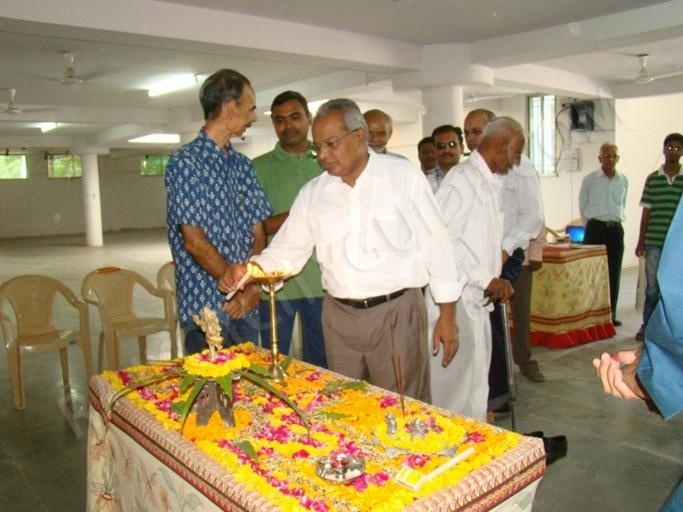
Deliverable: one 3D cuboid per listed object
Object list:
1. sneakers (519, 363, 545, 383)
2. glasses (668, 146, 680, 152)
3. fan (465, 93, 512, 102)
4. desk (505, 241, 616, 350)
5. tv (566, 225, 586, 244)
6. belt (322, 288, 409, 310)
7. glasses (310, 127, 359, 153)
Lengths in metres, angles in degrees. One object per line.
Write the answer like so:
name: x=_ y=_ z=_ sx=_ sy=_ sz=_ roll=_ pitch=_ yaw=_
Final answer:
sneakers: x=1.732 y=1.068 z=4.888 sx=0.104 sy=0.119 sz=0.263 roll=-4 pitch=1 yaw=-15
glasses: x=3.198 y=-1.042 z=5.154 sx=0.083 sy=0.052 sz=0.028 roll=7 pitch=15 yaw=42
fan: x=2.127 y=-2.352 z=7.859 sx=0.764 sy=0.114 sz=0.124 roll=-4 pitch=-30 yaw=-5
desk: x=2.505 y=0.381 z=6.143 sx=1.114 sy=1.168 sz=1.219 roll=3 pitch=7 yaw=41
tv: x=2.891 y=-0.267 z=6.623 sx=0.179 sy=0.165 sz=0.287 roll=4 pitch=27 yaw=-9
belt: x=0.145 y=0.220 z=2.795 sx=0.387 sy=0.086 sz=0.089 roll=-1 pitch=11 yaw=8
glasses: x=-0.025 y=-0.588 z=2.678 sx=0.151 sy=0.049 sz=0.145 roll=-33 pitch=12 yaw=-32
